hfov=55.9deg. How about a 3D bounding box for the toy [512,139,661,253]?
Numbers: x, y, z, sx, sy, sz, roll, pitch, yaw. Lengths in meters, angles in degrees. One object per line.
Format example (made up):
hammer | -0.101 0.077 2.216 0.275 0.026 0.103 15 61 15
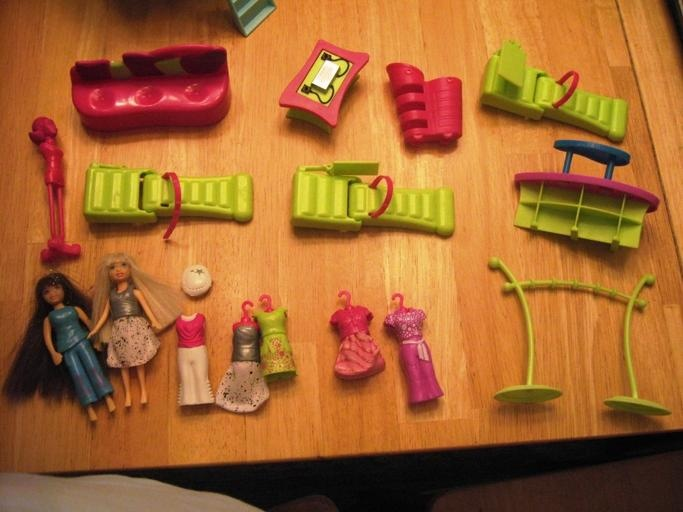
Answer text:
toy | 0.862 -0.199 2.300 0.336 0.121 0.250 13 63 12

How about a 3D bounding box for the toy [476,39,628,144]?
toy | 0.767 -0.575 2.479 0.665 0.248 0.277 16 78 -3

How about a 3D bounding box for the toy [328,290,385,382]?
toy | 0.042 0.272 2.176 0.158 0.096 0.276 -8 76 -2

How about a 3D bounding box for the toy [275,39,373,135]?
toy | -0.071 -0.621 2.303 0.247 0.110 0.340 24 77 6

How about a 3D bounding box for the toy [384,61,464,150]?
toy | 0.311 -0.539 2.345 0.272 0.111 0.294 -5 78 -4

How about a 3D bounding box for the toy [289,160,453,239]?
toy | 0.083 -0.179 2.291 0.582 0.212 0.262 2 77 -3

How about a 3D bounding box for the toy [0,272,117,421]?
toy | -0.949 0.321 2.141 0.326 0.109 0.448 -19 81 -13
